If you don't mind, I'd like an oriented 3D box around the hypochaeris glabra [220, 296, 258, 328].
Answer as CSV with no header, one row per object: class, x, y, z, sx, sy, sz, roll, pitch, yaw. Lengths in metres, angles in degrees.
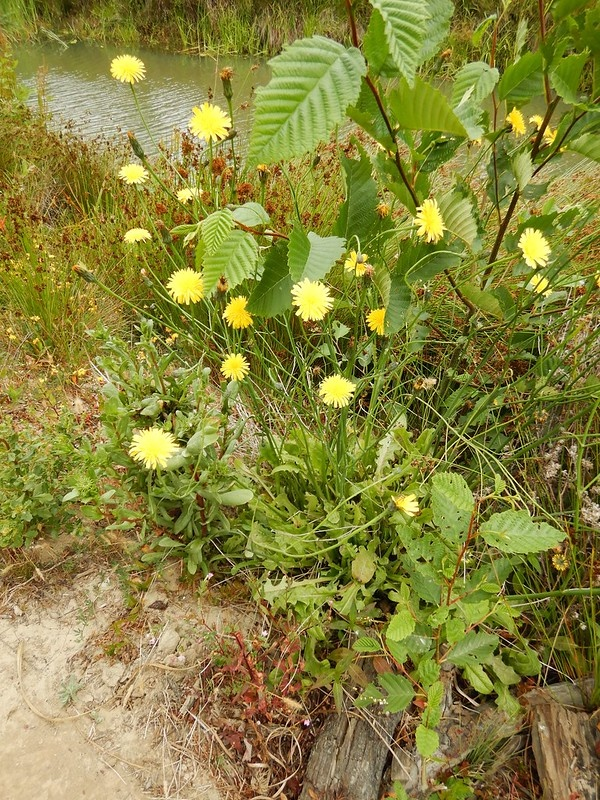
hypochaeris glabra,-0.168,-0.218,1.483,0.089,0.091,0.036,11,12,9
